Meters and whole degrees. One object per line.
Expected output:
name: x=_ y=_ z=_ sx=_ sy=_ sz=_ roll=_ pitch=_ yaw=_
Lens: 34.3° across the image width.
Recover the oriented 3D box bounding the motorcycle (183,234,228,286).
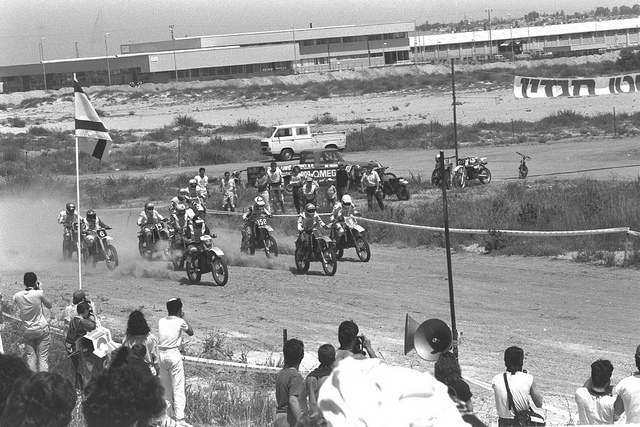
motorcycle: x=-3.768 y=1.591 z=35.097 sx=1.554 sy=1.728 sz=0.641 roll=1 pitch=5 yaw=30

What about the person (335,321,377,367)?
person: x=0.831 y=3.180 z=25.962 sx=1.008 sy=0.884 sz=0.735 roll=-4 pitch=5 yaw=-19

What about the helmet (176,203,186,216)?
helmet: x=-4.994 y=-0.115 z=37.165 sx=0.308 sy=0.336 sz=0.419 roll=0 pitch=3 yaw=-19

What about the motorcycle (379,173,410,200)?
motorcycle: x=3.421 y=-1.160 z=45.975 sx=1.420 sy=0.946 sz=0.823 roll=5 pitch=18 yaw=38

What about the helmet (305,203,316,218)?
helmet: x=-0.323 y=-0.111 z=36.032 sx=0.326 sy=0.428 sz=0.440 roll=-3 pitch=9 yaw=-12

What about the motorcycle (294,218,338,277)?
motorcycle: x=-0.273 y=1.275 z=35.705 sx=1.112 sy=1.584 sz=2.496 roll=-19 pitch=-13 yaw=33

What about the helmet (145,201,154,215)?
helmet: x=-6.165 y=-0.172 z=37.617 sx=0.311 sy=0.438 sz=0.405 roll=-2 pitch=0 yaw=-38

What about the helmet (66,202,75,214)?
helmet: x=-9.043 y=-0.155 z=37.453 sx=0.282 sy=0.407 sz=0.391 roll=-2 pitch=2 yaw=-14

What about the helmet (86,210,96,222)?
helmet: x=-8.139 y=0.112 z=36.769 sx=0.258 sy=0.335 sz=0.346 roll=3 pitch=14 yaw=3

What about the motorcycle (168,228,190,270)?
motorcycle: x=-5.036 y=1.280 z=36.664 sx=0.284 sy=1.291 sz=1.259 roll=9 pitch=27 yaw=2

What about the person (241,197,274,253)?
person: x=-2.336 y=0.445 z=37.129 sx=1.052 sy=1.970 sz=0.569 roll=1 pitch=5 yaw=31

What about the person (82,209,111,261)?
person: x=-8.095 y=0.787 z=36.943 sx=0.698 sy=1.756 sz=0.507 roll=-6 pitch=6 yaw=-42

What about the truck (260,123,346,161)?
truck: x=-1.007 y=-4.195 z=59.998 sx=4.354 sy=1.978 sz=2.280 roll=0 pitch=3 yaw=-9

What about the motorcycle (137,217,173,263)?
motorcycle: x=-5.892 y=0.985 z=37.691 sx=1.788 sy=1.617 sz=0.829 roll=2 pitch=6 yaw=43

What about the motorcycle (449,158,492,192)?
motorcycle: x=7.254 y=-2.140 z=49.198 sx=2.188 sy=1.381 sz=1.020 roll=0 pitch=-4 yaw=-26

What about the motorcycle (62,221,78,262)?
motorcycle: x=-9.183 y=1.041 z=37.937 sx=0.457 sy=1.490 sz=0.846 roll=-4 pitch=5 yaw=-20

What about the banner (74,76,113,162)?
banner: x=-6.997 y=-2.857 z=31.365 sx=1.120 sy=2.818 sz=0.343 roll=-10 pitch=29 yaw=-19
